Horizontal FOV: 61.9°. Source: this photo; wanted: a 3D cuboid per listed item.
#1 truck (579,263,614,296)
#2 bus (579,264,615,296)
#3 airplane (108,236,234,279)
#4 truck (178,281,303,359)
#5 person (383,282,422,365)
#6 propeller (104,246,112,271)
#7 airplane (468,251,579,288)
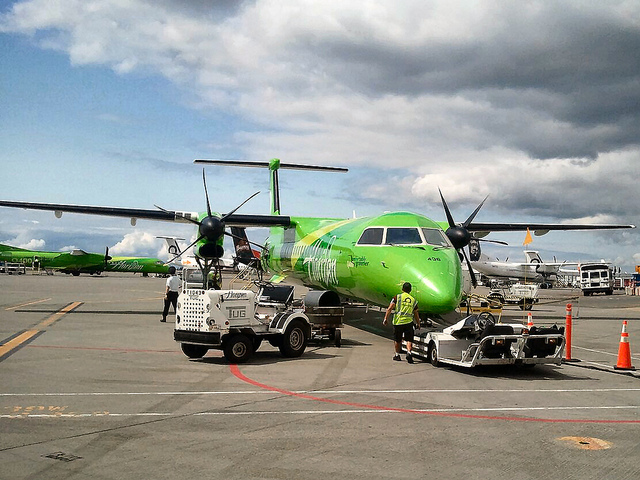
[{"bbox_3d":[27.652,3.877,53.717,2.913,2.422,4.924,-6,-4,29],"label":"truck"},{"bbox_3d":[27.981,4.189,53.673,2.832,2.541,4.992,-8,-10,30],"label":"bus"},{"bbox_3d":[-13.121,2.038,44.992,7.422,2.210,7.937,1,-2,-40],"label":"airplane"},{"bbox_3d":[-1.848,1.937,12.863,3.025,1.509,1.883,-1,1,-41],"label":"truck"},{"bbox_3d":[1.982,1.978,12.835,0.811,1.876,0.841,3,-2,10],"label":"person"},{"bbox_3d":[-26.456,2.769,66.337,0.949,4.657,0.716,5,10,3],"label":"propeller"},{"bbox_3d":[18.223,3.021,49.038,8.138,2.154,8.031,0,0,-22],"label":"airplane"}]
